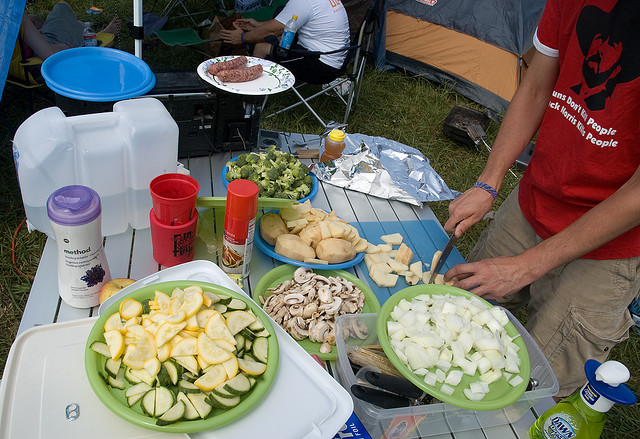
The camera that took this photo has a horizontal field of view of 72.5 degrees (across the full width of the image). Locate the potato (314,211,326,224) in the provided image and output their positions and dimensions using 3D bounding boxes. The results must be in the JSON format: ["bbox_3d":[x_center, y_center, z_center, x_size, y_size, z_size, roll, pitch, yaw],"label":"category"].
[{"bbox_3d":[-0.005,-0.014,2.490,0.039,0.018,0.072,40,36,9],"label":"potato"}]

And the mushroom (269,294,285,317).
[{"bbox_3d":[-0.209,0.418,2.139,0.033,0.041,0.114,42,62,-19],"label":"mushroom"}]

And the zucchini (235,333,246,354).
[{"bbox_3d":[-0.327,0.498,1.801,0.040,0.027,0.074,-11,56,-17],"label":"zucchini"}]

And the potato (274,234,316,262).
[{"bbox_3d":[-0.141,0.142,2.333,0.172,0.048,0.130,33,41,9],"label":"potato"}]

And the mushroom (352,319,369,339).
[{"bbox_3d":[0.183,0.495,2.012,0.087,0.024,0.065,60,20,7],"label":"mushroom"}]

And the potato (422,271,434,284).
[{"bbox_3d":[0.613,0.317,2.473,0.045,0.013,0.050,26,43,20],"label":"potato"}]

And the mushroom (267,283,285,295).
[{"bbox_3d":[-0.219,0.343,2.212,0.057,0.020,0.056,9,41,38],"label":"mushroom"}]

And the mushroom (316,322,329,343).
[{"bbox_3d":[0.014,0.539,2.104,0.020,0.077,0.073,-1,4,28],"label":"mushroom"}]

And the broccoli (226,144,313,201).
[{"bbox_3d":[-0.278,-0.272,2.683,0.374,0.167,0.382,-16,52,-40],"label":"broccoli"}]

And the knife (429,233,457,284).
[{"bbox_3d":[0.693,0.191,2.397,0.015,0.336,0.062,34,14,25],"label":"knife"}]

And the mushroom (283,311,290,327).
[{"bbox_3d":[-0.166,0.476,2.118,0.013,0.042,0.041,8,39,-4],"label":"mushroom"}]

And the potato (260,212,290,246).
[{"bbox_3d":[-0.263,0.033,2.418,0.120,0.050,0.183,-4,52,-19],"label":"potato"}]

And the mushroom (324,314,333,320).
[{"bbox_3d":[0.038,0.470,2.145,0.022,0.007,0.025,-17,71,-10],"label":"mushroom"}]

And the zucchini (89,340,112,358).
[{"bbox_3d":[-0.863,0.501,1.736,0.093,0.023,0.048,19,52,5],"label":"zucchini"}]

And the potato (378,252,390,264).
[{"bbox_3d":[0.372,0.212,2.521,0.050,0.014,0.051,46,36,17],"label":"potato"}]

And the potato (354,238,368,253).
[{"bbox_3d":[0.235,0.135,2.471,0.064,0.019,0.069,3,46,1],"label":"potato"}]

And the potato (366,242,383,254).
[{"bbox_3d":[0.311,0.166,2.537,0.051,0.019,0.077,-1,31,-2],"label":"potato"}]

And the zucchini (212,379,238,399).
[{"bbox_3d":[-0.365,0.645,1.679,0.055,0.017,0.060,41,27,15],"label":"zucchini"}]

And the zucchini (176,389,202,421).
[{"bbox_3d":[-0.494,0.696,1.647,0.112,0.019,0.058,46,44,14],"label":"zucchini"}]

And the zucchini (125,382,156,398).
[{"bbox_3d":[-0.697,0.642,1.670,0.120,0.026,0.047,-22,71,-2],"label":"zucchini"}]

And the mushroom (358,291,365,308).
[{"bbox_3d":[0.212,0.403,2.240,0.012,0.049,0.056,3,75,-7],"label":"mushroom"}]

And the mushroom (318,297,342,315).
[{"bbox_3d":[0.061,0.417,2.156,0.077,0.023,0.075,-1,38,14],"label":"mushroom"}]

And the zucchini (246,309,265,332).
[{"bbox_3d":[-0.278,0.430,1.868,0.065,0.018,0.073,25,42,-27],"label":"zucchini"}]

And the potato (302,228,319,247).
[{"bbox_3d":[-0.052,0.090,2.400,0.074,0.028,0.075,46,8,8],"label":"potato"}]

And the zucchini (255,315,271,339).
[{"bbox_3d":[-0.258,0.454,1.859,0.052,0.010,0.113,-23,61,-24],"label":"zucchini"}]

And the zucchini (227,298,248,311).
[{"bbox_3d":[-0.360,0.371,1.900,0.052,0.014,0.057,29,26,-3],"label":"zucchini"}]

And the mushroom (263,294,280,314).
[{"bbox_3d":[-0.240,0.410,2.147,0.061,0.023,0.079,26,60,2],"label":"mushroom"}]

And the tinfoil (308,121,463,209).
[{"bbox_3d":[0.464,-0.398,3.108,1.035,0.132,0.631,15,53,1],"label":"tinfoil"}]

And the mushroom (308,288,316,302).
[{"bbox_3d":[-0.043,0.372,2.190,0.037,0.020,0.056,22,62,-8],"label":"mushroom"}]

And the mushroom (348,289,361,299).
[{"bbox_3d":[0.181,0.370,2.243,0.049,0.025,0.060,19,53,5],"label":"mushroom"}]

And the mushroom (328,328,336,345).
[{"bbox_3d":[0.063,0.561,2.144,0.050,0.037,0.067,17,46,-15],"label":"mushroom"}]

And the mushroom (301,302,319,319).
[{"bbox_3d":[-0.050,0.433,2.162,0.075,0.042,0.056,-43,29,-4],"label":"mushroom"}]

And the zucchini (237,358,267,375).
[{"bbox_3d":[-0.272,0.586,1.756,0.074,0.022,0.073,20,25,1],"label":"zucchini"}]

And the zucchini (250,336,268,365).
[{"bbox_3d":[-0.238,0.529,1.820,0.099,0.098,0.024,23,11,30],"label":"zucchini"}]

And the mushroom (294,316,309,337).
[{"bbox_3d":[-0.090,0.513,2.107,0.065,0.036,0.089,-34,65,-29],"label":"mushroom"}]

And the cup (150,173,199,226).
[{"bbox_3d":[-0.716,-0.126,2.207,0.232,0.187,0.243,21,22,-9],"label":"cup"}]

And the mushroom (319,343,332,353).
[{"bbox_3d":[0.028,0.602,2.075,0.057,0.017,0.052,6,53,-5],"label":"mushroom"}]

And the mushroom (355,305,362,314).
[{"bbox_3d":[0.197,0.452,2.207,0.018,0.008,0.027,9,75,33],"label":"mushroom"}]

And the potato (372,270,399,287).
[{"bbox_3d":[0.354,0.321,2.405,0.137,0.031,0.085,13,52,1],"label":"potato"}]

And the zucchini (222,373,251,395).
[{"bbox_3d":[-0.310,0.630,1.690,0.063,0.021,0.085,45,25,22],"label":"zucchini"}]

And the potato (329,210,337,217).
[{"bbox_3d":[0.077,-0.030,2.587,0.031,0.036,0.062,-16,41,22],"label":"potato"}]

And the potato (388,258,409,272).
[{"bbox_3d":[0.438,0.257,2.479,0.087,0.022,0.066,17,37,-7],"label":"potato"}]

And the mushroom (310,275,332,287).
[{"bbox_3d":[0.002,0.315,2.249,0.064,0.020,0.053,19,27,-27],"label":"mushroom"}]
